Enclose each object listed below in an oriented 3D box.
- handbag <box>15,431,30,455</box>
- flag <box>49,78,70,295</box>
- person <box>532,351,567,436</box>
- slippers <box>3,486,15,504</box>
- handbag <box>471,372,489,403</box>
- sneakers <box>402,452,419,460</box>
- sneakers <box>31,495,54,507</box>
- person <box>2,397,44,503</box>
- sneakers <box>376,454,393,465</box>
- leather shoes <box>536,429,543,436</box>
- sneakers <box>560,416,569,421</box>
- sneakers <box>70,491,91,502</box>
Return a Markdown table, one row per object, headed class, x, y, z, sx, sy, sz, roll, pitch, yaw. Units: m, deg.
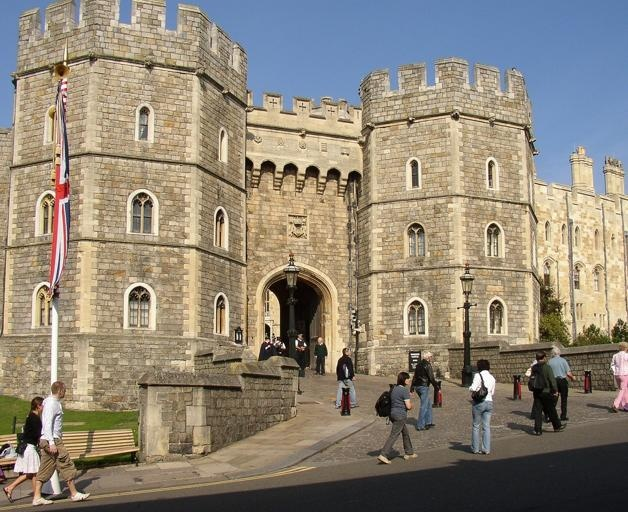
| class | x | y | z | sx | sy | sz | roll | pitch | yaw |
| --- | --- | --- | --- | --- | --- | --- | --- | --- | --- |
| handbag | -5.332 | 3.437 | 14.942 | 0.178 | 0.477 | 0.347 | 8 | 0 | -9 |
| flag | -6.435 | -1.858 | 20.651 | 0.559 | 5.688 | 1.279 | -2 | 0 | -17 |
| person | 5.304 | 3.154 | 18.761 | 0.641 | 1.676 | 0.980 | -2 | 1 | 33 |
| slippers | -5.616 | 4.418 | 15.071 | 0.097 | 0.478 | 0.163 | -4 | 16 | 12 |
| handbag | 3.435 | 2.734 | 16.897 | 0.315 | 0.591 | 0.236 | -2 | 0 | 12 |
| sneakers | 2.003 | 4.085 | 16.752 | 0.286 | 0.128 | 0.106 | -9 | 9 | -35 |
| sneakers | -4.874 | 4.444 | 14.755 | 0.380 | 0.187 | 0.157 | 1 | -4 | -16 |
| person | -5.335 | 3.595 | 15.076 | 0.729 | 2.024 | 0.914 | -3 | 1 | -23 |
| sneakers | 1.434 | 4.046 | 16.396 | 0.267 | 0.202 | 0.521 | -3 | 1 | 5 |
| leather shoes | 5.097 | 3.990 | 18.517 | 0.123 | 0.109 | 0.132 | 4 | 5 | 34 |
| sneakers | 6.159 | 3.954 | 20.027 | 0.154 | 0.075 | 0.176 | 13 | -34 | 27 |
| sneakers | -4.221 | 4.384 | 14.826 | 0.350 | 0.175 | 0.150 | -3 | 11 | -9 |
